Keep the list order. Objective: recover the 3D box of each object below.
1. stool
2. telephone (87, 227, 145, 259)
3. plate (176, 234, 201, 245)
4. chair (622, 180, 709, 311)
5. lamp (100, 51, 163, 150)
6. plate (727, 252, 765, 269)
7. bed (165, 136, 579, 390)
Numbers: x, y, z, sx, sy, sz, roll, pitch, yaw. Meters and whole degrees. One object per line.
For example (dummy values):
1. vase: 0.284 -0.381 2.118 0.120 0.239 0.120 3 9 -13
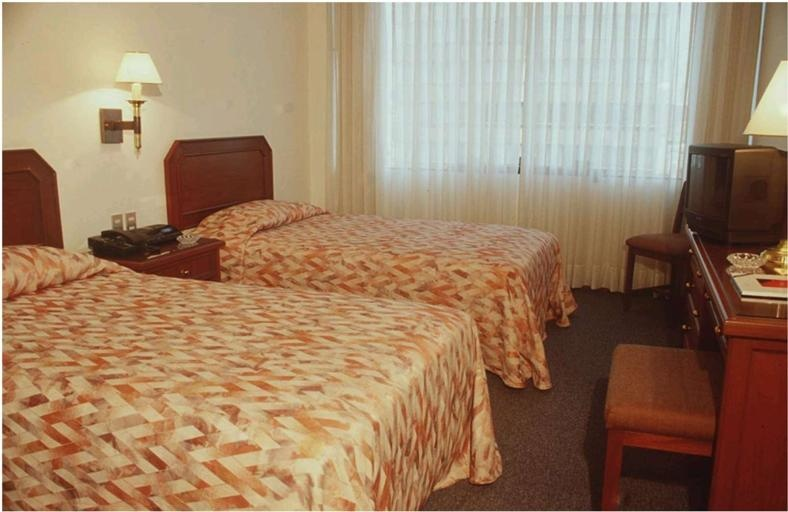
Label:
1. stool: 1.361 1.036 3.156 0.754 0.767 0.948 3 18 15
2. telephone: -2.028 -0.074 3.984 0.290 0.124 0.266 13 17 25
3. plate: -1.656 -0.127 4.358 0.137 0.034 0.108 6 13 24
4. chair: 2.476 -0.127 5.200 0.647 0.995 0.614 8 17 32
5. lamp: -1.976 -1.199 4.292 0.339 0.752 0.611 1 15 14
6. plate: 2.056 0.027 3.240 0.141 0.032 0.137 -6 8 -34
7. bed: -0.121 -0.211 5.000 3.439 1.672 1.968 6 18 21
